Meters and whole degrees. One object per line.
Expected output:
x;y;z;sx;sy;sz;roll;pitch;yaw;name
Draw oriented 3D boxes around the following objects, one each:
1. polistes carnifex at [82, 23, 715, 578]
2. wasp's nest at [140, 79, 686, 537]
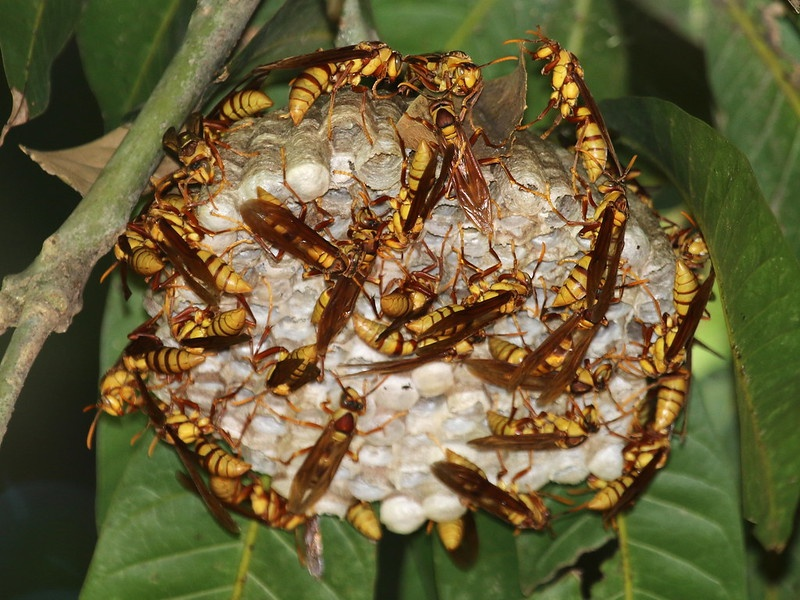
-0.378;-0.127;3.013;0.761;1.677;1.322;8;59;23;polistes carnifex
0.101;-0.048;3.074;1.097;0.980;1.180;0;100;3;wasp's nest
